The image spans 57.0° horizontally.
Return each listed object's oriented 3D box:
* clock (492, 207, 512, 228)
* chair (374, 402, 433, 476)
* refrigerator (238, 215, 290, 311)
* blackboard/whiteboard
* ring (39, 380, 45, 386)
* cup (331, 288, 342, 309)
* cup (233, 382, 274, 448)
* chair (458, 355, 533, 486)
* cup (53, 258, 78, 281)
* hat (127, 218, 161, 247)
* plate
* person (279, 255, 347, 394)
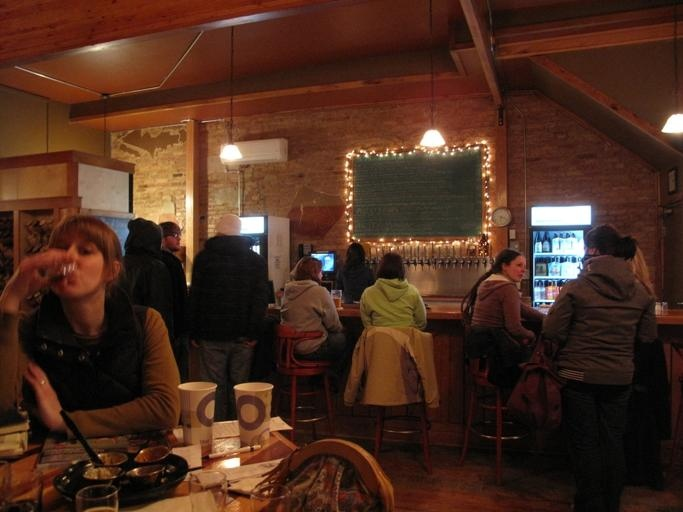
[{"bbox_3d":[2.253,-0.543,8.855,0.274,0.272,0.063,0,-4,35],"label":"clock"},{"bbox_3d":[0.519,1.523,5.547,0.496,0.479,0.641,-5,26,-1],"label":"chair"},{"bbox_3d":[-1.168,-0.030,9.575,0.649,1.112,0.675,-1,1,16],"label":"refrigerator"},{"bbox_3d":[1.158,-0.920,9.377,2.109,1.353,0.039,-2,5,-10],"label":"blackboard/whiteboard"},{"bbox_3d":[-1.465,0.618,3.087,0.027,0.019,0.011,0,1,-27],"label":"ring"},{"bbox_3d":[-0.060,0.439,6.352,0.141,0.221,0.143,-1,-6,0],"label":"cup"},{"bbox_3d":[-0.455,0.763,3.160,0.265,0.344,0.288,0,-1,0],"label":"cup"},{"bbox_3d":[1.364,1.324,5.400,0.866,0.940,0.869,-3,-5,23],"label":"chair"},{"bbox_3d":[-1.360,0.066,3.103,0.042,0.099,0.084,23,0,20],"label":"cup"},{"bbox_3d":[-1.692,-0.197,5.394,0.288,0.271,0.203,-9,15,-28],"label":"hat"},{"bbox_3d":[-0.866,0.976,2.717,0.266,0.039,0.275,2,1,24],"label":"plate"},{"bbox_3d":[-0.235,0.577,5.601,0.598,1.142,0.368,1,1,-6],"label":"person"}]
